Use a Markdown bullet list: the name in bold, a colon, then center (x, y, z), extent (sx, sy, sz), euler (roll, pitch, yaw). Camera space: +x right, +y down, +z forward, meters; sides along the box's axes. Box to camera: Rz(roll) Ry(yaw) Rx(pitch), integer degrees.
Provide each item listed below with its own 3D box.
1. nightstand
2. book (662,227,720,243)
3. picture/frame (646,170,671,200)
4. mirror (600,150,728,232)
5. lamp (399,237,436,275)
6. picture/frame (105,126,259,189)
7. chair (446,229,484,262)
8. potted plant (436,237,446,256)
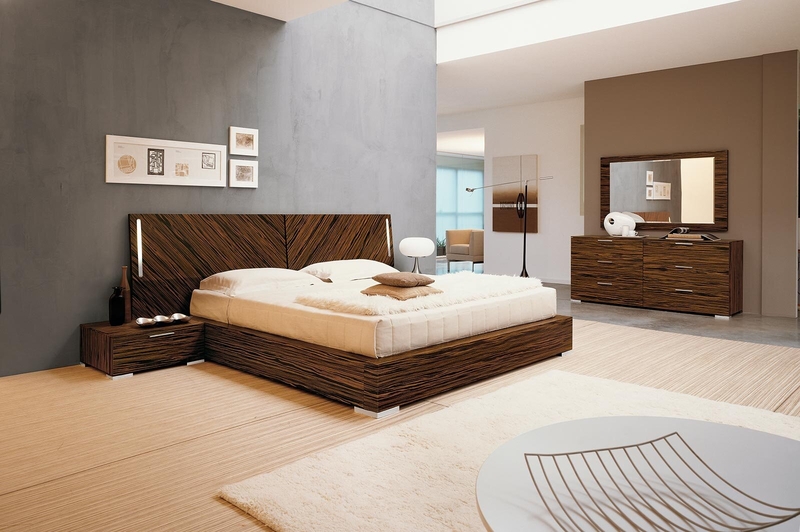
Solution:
- **nightstand**: center (-2.217, 0.680, 4.520), extent (1.021, 0.403, 0.518), euler (-4, 10, -20)
- **book**: center (3.704, -0.415, 6.703), extent (0.602, 0.114, 0.639), euler (5, 11, 32)
- **picture/frame**: center (3.534, -1.110, 7.172), extent (0.024, 0.431, 0.392), euler (-7, 9, -41)
- **mirror**: center (3.617, -1.011, 7.078), extent (1.217, 0.816, 0.061), euler (1, 2, 43)
- **lamp**: center (0.221, -0.127, 6.789), extent (0.477, 0.509, 0.470), euler (0, -1, -22)
- **picture/frame**: center (-2.062, -1.053, 5.124), extent (1.470, 0.619, 0.083), euler (-9, 13, -38)
- **chair**: center (1.278, -0.372, 10.350), extent (0.687, 0.655, 0.641), euler (1, 1, 44)
- **potted plant**: center (1.146, -0.536, 14.607), extent (0.471, 0.508, 0.467), euler (1, 0, -1)
